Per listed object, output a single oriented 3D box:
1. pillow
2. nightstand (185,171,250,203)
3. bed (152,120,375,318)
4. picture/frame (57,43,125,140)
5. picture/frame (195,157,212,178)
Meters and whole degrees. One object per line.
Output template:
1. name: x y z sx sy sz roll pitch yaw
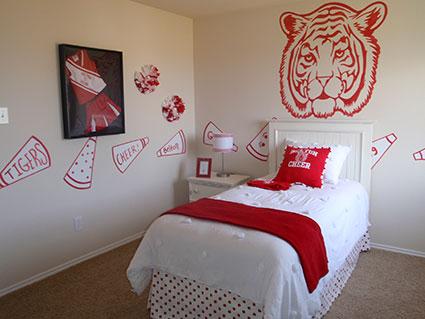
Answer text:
1. pillow: 1.159 0.027 3.176 0.627 0.387 0.520 7 16 33
2. nightstand: 0.086 0.331 3.793 0.550 0.567 0.418 3 4 38
3. bed: 0.728 0.388 3.814 1.674 2.451 1.927 2 2 39
4. picture/frame: -1.258 -0.721 3.042 0.087 0.921 0.745 11 18 41
5. picture/frame: -0.116 0.112 3.871 0.268 0.334 0.025 1 -2 22
